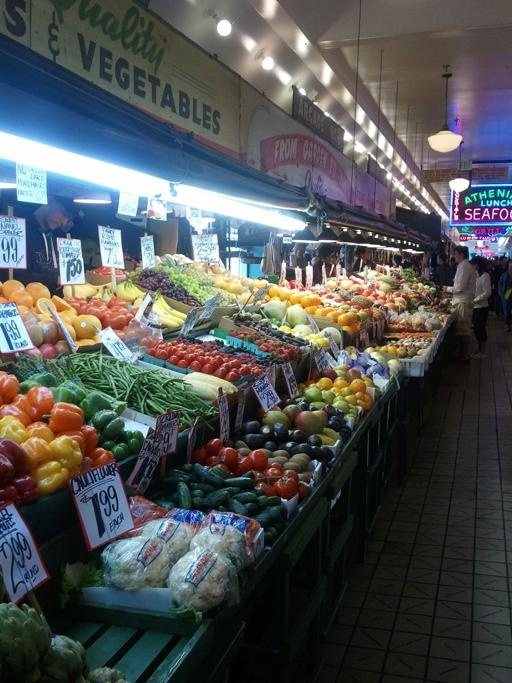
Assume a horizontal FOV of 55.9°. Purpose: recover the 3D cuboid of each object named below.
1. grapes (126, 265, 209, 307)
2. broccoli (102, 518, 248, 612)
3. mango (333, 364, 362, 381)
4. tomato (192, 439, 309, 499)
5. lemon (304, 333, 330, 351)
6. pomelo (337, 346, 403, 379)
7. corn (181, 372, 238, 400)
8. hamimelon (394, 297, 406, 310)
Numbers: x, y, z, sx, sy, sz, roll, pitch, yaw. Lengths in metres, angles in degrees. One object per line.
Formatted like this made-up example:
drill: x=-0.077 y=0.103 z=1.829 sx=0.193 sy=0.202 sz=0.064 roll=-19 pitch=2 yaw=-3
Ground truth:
grapes: x=-0.783 y=-0.471 z=4.219 sx=0.541 sy=0.161 sz=0.382 roll=26 pitch=15 yaw=5
broccoli: x=-0.206 y=0.587 z=1.340 sx=0.393 sy=0.112 sz=0.341 roll=0 pitch=6 yaw=29
mango: x=0.764 y=0.261 z=4.023 sx=0.198 sy=0.088 sz=0.113 roll=0 pitch=-34 yaw=-3
tomato: x=-0.030 y=0.521 z=2.049 sx=0.429 sy=0.128 sz=0.227 roll=24 pitch=12 yaw=15
lemon: x=0.581 y=-0.006 z=4.466 sx=0.182 sy=0.070 sz=0.180 roll=5 pitch=23 yaw=2
pomelo: x=1.098 y=0.186 z=4.716 sx=0.595 sy=0.265 sz=0.625 roll=2 pitch=11 yaw=19
corn: x=-0.261 y=0.242 z=2.612 sx=0.177 sy=0.055 sz=0.170 roll=17 pitch=12 yaw=-8
hamimelon: x=2.639 y=-0.681 z=8.824 sx=0.284 sy=0.149 sz=0.278 roll=-2 pitch=27 yaw=-2
